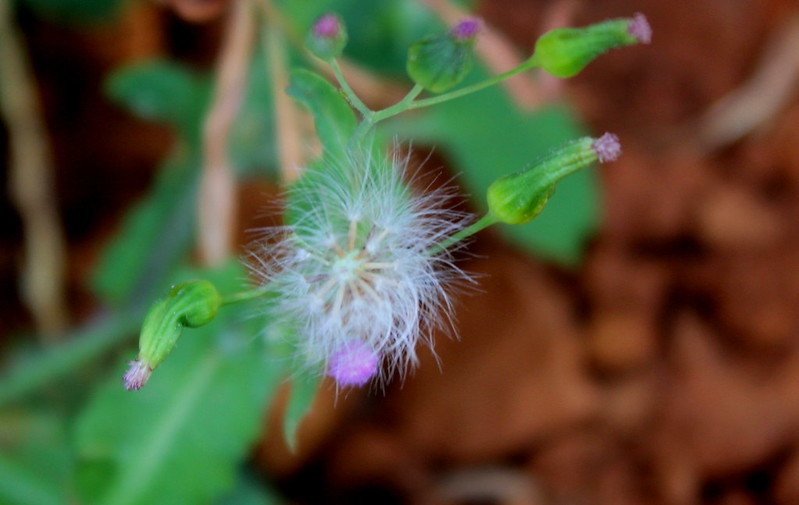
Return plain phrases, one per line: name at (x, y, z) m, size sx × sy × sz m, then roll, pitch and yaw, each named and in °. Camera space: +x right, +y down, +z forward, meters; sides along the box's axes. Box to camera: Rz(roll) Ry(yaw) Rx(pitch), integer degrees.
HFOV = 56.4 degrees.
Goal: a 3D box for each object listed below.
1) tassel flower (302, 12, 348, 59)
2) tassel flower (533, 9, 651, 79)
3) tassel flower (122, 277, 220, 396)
tassel flower at (-0.175, -0.510, 1.759) m, size 0.090 × 0.107 × 0.027 m, roll 10°, pitch 8°, yaw 6°
tassel flower at (0.447, -0.481, 1.809) m, size 0.294 × 0.124 × 0.094 m, roll -18°, pitch -9°, yaw 22°
tassel flower at (-0.527, 0.178, 1.786) m, size 0.144 × 0.322 × 0.095 m, roll 42°, pitch -25°, yaw -7°
